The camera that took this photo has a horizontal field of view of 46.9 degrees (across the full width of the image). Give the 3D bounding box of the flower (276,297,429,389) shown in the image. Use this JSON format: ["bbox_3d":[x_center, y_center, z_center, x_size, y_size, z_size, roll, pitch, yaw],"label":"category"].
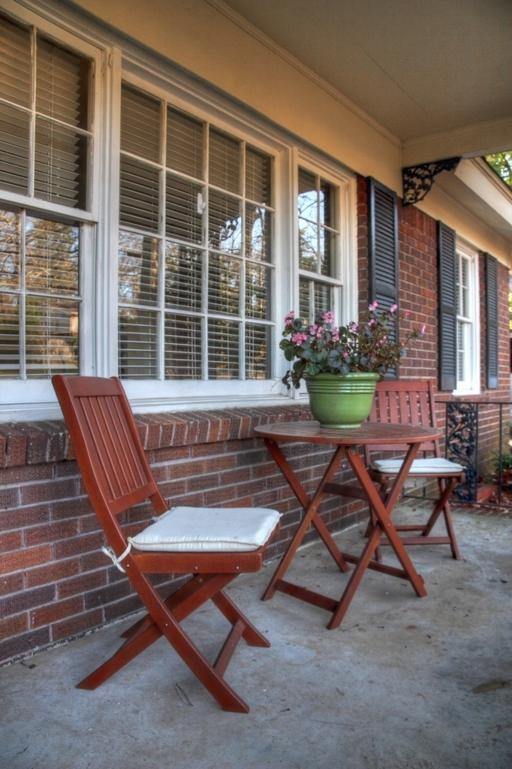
[{"bbox_3d":[0.386,-0.179,2.567,0.544,0.371,0.370,0,1,-43],"label":"flower"}]

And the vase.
[{"bbox_3d":[0.371,0.068,2.446,0.250,0.180,0.252,-1,-2,7],"label":"vase"}]

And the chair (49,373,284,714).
[{"bbox_3d":[-0.230,0.432,1.793,0.626,0.887,0.543,-1,1,-2],"label":"chair"}]
